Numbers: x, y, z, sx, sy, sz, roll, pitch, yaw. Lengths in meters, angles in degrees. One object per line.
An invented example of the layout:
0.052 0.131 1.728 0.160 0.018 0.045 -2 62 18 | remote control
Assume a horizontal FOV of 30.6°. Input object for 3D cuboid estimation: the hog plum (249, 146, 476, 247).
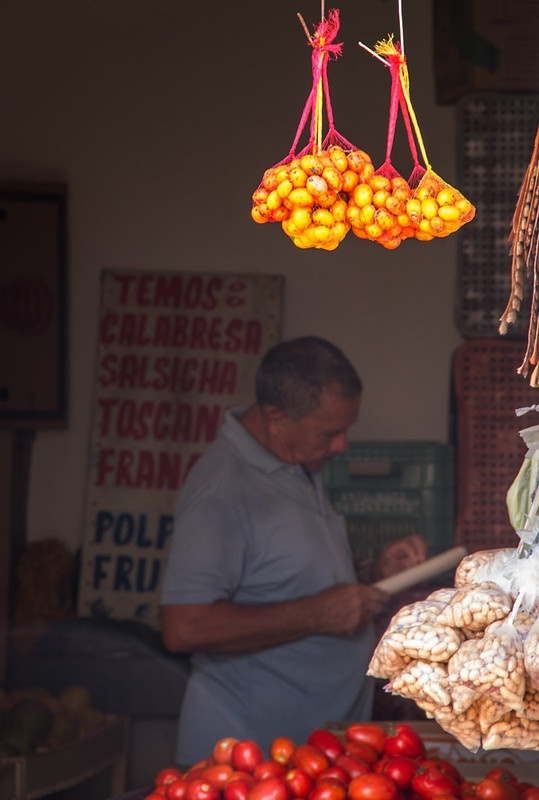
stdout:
0.183 -0.430 1.963 0.383 0.137 0.221 -7 28 -10 | hog plum
